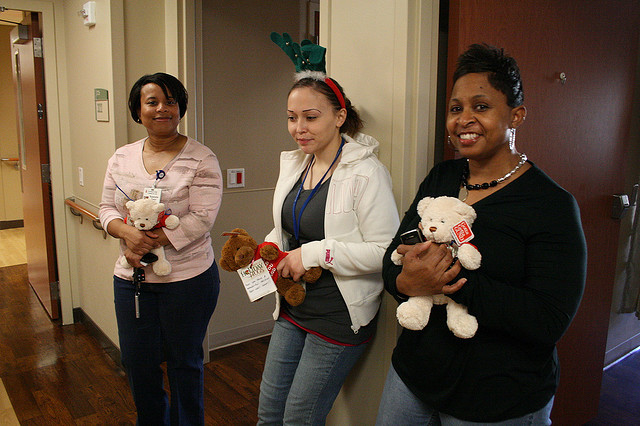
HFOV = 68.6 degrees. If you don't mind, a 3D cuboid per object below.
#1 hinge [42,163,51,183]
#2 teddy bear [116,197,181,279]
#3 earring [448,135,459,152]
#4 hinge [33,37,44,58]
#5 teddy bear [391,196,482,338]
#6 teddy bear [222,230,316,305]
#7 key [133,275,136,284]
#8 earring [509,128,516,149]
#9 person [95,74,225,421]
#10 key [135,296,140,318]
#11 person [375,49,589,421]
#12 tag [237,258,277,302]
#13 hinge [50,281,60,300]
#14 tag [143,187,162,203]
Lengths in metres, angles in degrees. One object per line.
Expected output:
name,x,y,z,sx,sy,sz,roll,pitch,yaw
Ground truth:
hinge,-2.592,-0.377,4.410,0.067,0.164,0.035,-10,14,-41
teddy bear,-0.970,0.144,2.674,0.429,0.510,0.265,2,5,3
earring,0.659,-0.342,2.316,0.080,0.084,0.024,-4,-8,0
hinge,-2.573,-1.505,4.256,0.081,0.170,0.027,-7,12,-30
teddy bear,0.497,0.188,1.941,0.311,0.568,0.314,5,16,-12
teddy bear,-0.256,0.263,2.420,0.307,0.285,0.525,-23,-43,36
key,-1.075,0.389,2.709,0.010,0.036,0.038,2,1,-9
earring,0.803,-0.310,1.947,0.018,0.084,0.070,4,12,27
person,-0.942,0.251,2.837,0.710,2.120,0.371,-4,11,-14
key,-1.073,0.549,2.732,0.022,0.131,0.014,-1,11,-2
person,0.660,0.156,1.935,0.771,1.622,0.375,5,12,31
tag,-0.316,0.341,2.350,0.193,0.220,0.088,-2,11,-7
hinge,-2.576,0.754,4.538,0.076,0.182,0.022,-6,12,-26
tag,-0.956,-0.101,2.654,0.084,0.088,0.013,0,-6,13
